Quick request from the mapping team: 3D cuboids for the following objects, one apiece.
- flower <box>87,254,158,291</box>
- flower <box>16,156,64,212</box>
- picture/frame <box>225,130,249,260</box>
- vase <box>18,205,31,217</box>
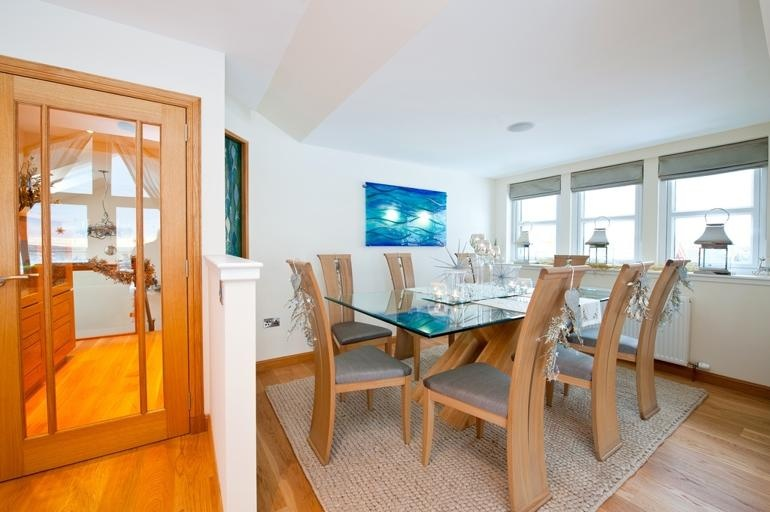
[{"bbox_3d":[-2.140,0.138,3.667,0.323,0.121,0.316,11,0,12],"label":"flower"},{"bbox_3d":[-2.704,-0.544,3.443,0.142,0.415,0.038,-1,4,-33],"label":"flower"},{"bbox_3d":[-1.504,-0.602,4.596,0.134,1.236,0.390,1,3,10],"label":"picture/frame"},{"bbox_3d":[-2.736,-0.338,3.437,0.072,0.069,0.064,19,-1,25],"label":"vase"}]
